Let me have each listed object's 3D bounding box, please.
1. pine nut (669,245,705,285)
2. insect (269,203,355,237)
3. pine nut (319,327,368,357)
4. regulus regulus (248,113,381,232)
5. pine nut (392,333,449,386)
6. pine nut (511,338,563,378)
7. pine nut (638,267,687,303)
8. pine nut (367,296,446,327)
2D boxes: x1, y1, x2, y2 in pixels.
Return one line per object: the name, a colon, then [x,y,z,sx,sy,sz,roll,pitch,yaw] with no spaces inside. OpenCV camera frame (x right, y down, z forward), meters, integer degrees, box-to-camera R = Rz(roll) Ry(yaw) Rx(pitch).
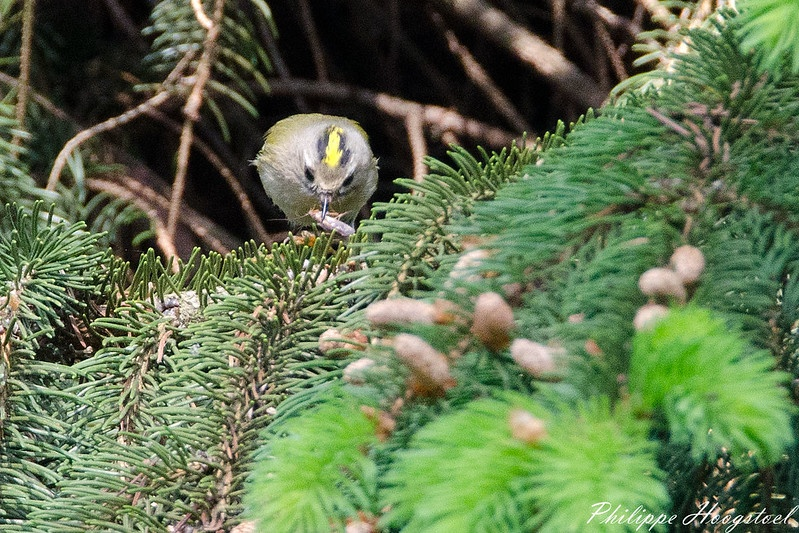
pine nut: [0.632,-0.004,2.372,0.070,0.081,0.047,4,-6,5]
insect: [-0.202,-0.144,3.348,0.220,0.131,0.232,7,12,42]
pine nut: [-0.135,0.177,2.537,0.079,0.048,0.094,-7,-4,-15]
regulus regulus: [-0.318,-0.422,4.319,0.491,0.373,0.508,-2,29,-8]
pine nut: [0.049,0.202,2.423,0.122,0.100,0.144,6,18,29]
pine nut: [0.299,0.191,2.352,0.091,0.087,0.070,-1,42,34]
pine nut: [0.572,0.043,2.360,0.090,0.075,0.055,-18,35,12]
pine nut: [0.009,0.097,2.428,0.160,0.081,0.069,-17,35,12]
